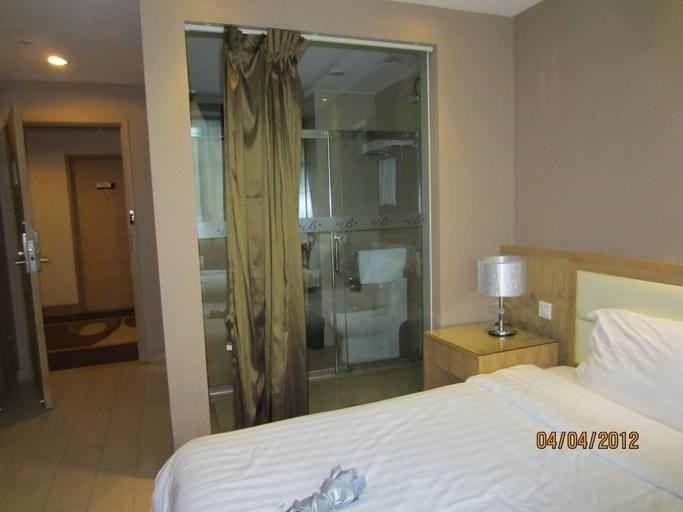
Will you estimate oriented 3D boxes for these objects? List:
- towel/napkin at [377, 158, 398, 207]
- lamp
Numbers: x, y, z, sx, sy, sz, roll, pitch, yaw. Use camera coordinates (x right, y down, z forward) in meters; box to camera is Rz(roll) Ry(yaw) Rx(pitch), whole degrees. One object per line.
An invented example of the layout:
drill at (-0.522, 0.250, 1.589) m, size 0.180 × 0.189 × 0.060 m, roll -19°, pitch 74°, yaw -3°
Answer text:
towel/napkin at (0.344, -0.544, 3.933) m, size 0.161 × 0.346 × 0.024 m, roll -8°, pitch 7°, yaw -25°
lamp at (1.108, 0.294, 3.765) m, size 0.320 × 0.586 × 0.309 m, roll -3°, pitch 4°, yaw -23°
